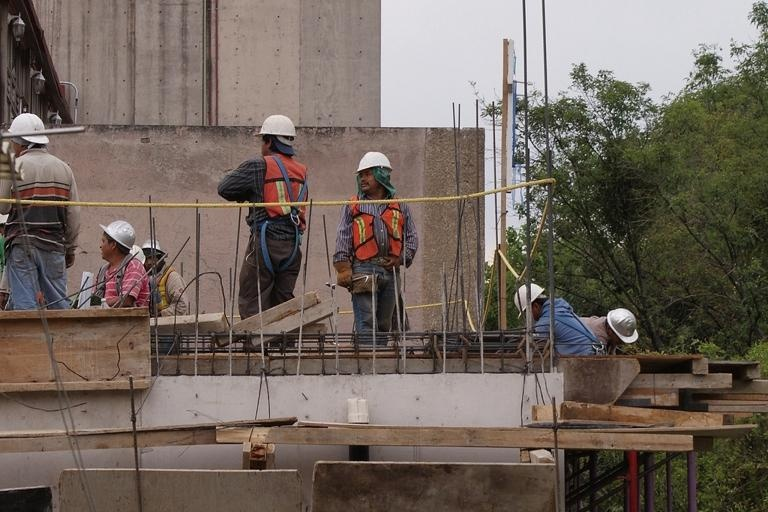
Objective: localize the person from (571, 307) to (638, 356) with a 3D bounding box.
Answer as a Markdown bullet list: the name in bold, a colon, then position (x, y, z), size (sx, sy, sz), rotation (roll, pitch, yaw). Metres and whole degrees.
- **person**: position (4.299, 1.323, 31.803), size (1.570, 0.750, 0.535), rotation (14, 20, 38)

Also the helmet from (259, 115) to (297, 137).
- **helmet**: position (-1.895, -2.318, 30.919), size (0.505, 0.279, 0.425), rotation (6, 2, 28)

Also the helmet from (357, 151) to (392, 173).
- **helmet**: position (-0.147, -1.721, 30.902), size (0.496, 0.285, 0.419), rotation (1, -3, -5)

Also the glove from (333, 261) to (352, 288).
- **glove**: position (-0.694, 0.303, 30.402), size (0.318, 0.451, 0.208), rotation (-1, -1, -3)

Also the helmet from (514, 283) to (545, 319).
- **helmet**: position (2.642, 0.710, 31.474), size (0.604, 0.332, 0.484), rotation (-44, 12, 20)

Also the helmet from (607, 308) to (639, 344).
- **helmet**: position (4.406, 1.352, 31.939), size (0.514, 0.654, 0.339), rotation (-28, -22, -30)

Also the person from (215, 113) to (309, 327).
- **person**: position (-2.062, -0.748, 30.586), size (1.134, 3.647, 1.482), rotation (-2, -1, 30)
